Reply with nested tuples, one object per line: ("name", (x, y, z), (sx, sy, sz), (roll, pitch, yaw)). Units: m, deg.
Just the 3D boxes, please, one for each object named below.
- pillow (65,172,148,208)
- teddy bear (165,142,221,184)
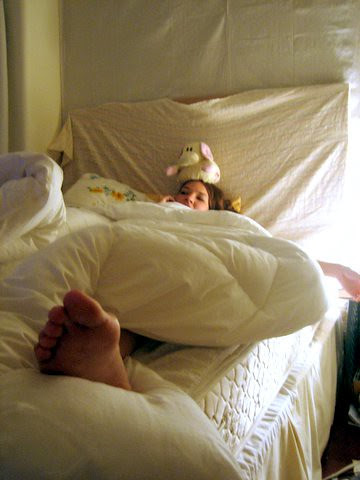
("pillow", (-0.322, -0.228, 2.002), (0.206, 0.068, 0.191), (26, 26, 33))
("teddy bear", (0.065, -0.354, 2.090), (0.241, 0.211, 0.160), (0, -11, 17))
